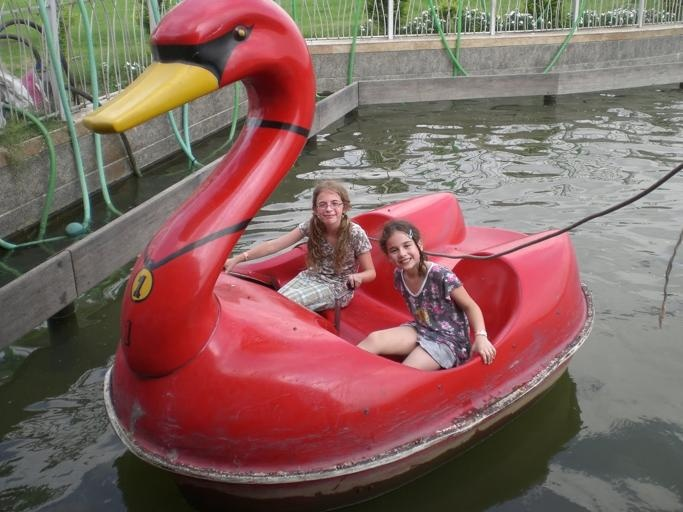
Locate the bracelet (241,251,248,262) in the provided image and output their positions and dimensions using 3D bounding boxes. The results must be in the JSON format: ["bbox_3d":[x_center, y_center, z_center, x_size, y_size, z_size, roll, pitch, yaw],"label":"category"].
[{"bbox_3d":[-0.498,0.002,2.913,0.027,0.037,0.042,10,10,20],"label":"bracelet"}]
